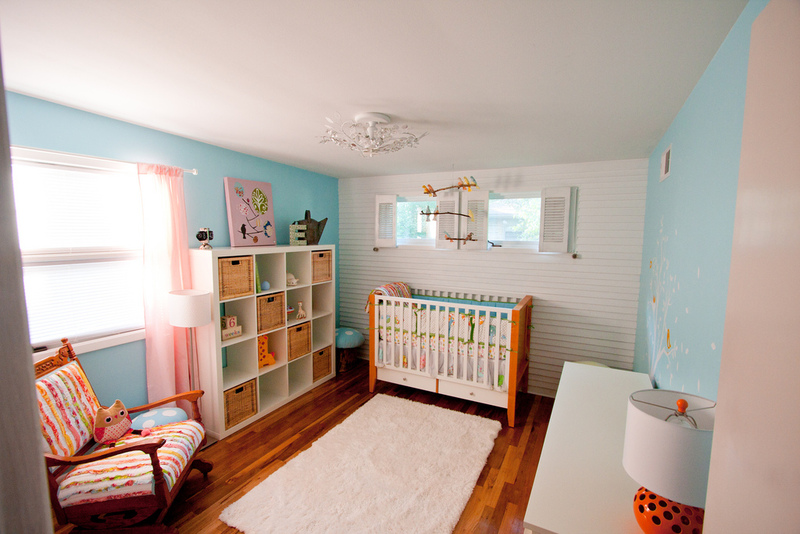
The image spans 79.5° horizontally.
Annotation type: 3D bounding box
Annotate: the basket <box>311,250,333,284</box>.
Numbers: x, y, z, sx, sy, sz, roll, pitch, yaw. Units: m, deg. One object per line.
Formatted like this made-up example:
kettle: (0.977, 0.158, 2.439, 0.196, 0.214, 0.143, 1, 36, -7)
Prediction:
basket: (-0.856, -0.015, 5.206, 0.208, 0.327, 0.362, 1, 3, 23)

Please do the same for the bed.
bed: (0.622, 0.774, 4.991, 1.836, 1.238, 1.190, 3, 7, 31)

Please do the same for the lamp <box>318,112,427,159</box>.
lamp: (-0.182, -1.016, 3.678, 0.808, 0.228, 0.561, -2, 6, -8)

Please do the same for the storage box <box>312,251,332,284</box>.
storage box: (-0.855, -0.009, 5.210, 0.198, 0.310, 0.340, 1, 3, 21)

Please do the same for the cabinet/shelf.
cabinet/shelf: (-1.326, 0.713, 4.473, 0.491, 1.612, 1.604, 0, -9, 26)

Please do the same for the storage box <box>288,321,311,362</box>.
storage box: (-1.035, 0.740, 4.921, 0.227, 0.283, 0.406, 1, 5, 17)

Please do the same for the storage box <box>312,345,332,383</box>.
storage box: (-0.867, 1.056, 5.277, 0.242, 0.297, 0.413, 0, 4, 17)

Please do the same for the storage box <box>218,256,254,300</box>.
storage box: (-1.443, 0.085, 4.195, 0.225, 0.332, 0.352, 4, 7, 23)

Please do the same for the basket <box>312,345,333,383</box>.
basket: (-0.865, 1.058, 5.279, 0.245, 0.298, 0.416, 1, 4, 18)

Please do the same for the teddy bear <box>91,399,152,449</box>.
teddy bear: (-1.971, 1.099, 3.477, 0.303, 0.328, 0.333, 1, 3, 22)
